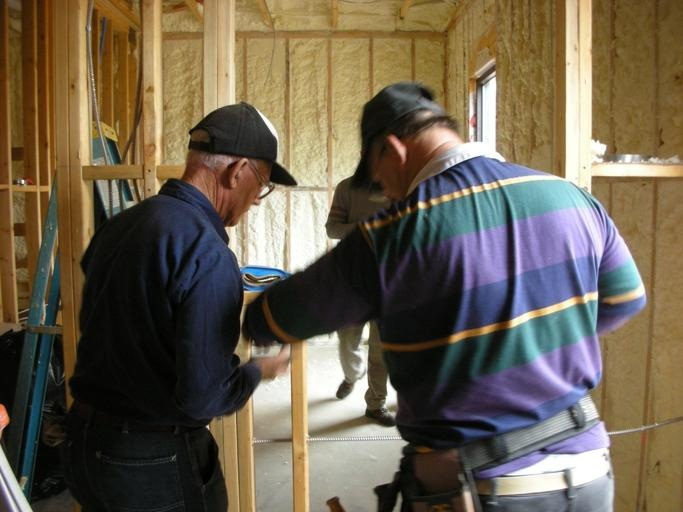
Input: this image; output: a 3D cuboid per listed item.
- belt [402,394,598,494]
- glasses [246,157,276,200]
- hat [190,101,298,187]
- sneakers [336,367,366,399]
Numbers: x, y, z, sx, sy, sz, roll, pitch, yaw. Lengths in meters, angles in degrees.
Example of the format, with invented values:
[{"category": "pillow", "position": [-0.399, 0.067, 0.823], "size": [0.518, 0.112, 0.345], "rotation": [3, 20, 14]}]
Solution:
[{"category": "belt", "position": [0.622, 0.600, 2.331], "size": [0.337, 0.126, 0.275], "rotation": [-22, -1, 4]}, {"category": "glasses", "position": [-0.305, -0.324, 2.728], "size": [0.038, 0.133, 0.124], "rotation": [-34, 2, -10]}, {"category": "hat", "position": [-0.385, -0.464, 2.748], "size": [0.380, 0.257, 0.257], "rotation": [20, -2, -33]}, {"category": "sneakers", "position": [0.070, 0.976, 5.139], "size": [0.083, 0.259, 0.101], "rotation": [28, -16, 27]}]
